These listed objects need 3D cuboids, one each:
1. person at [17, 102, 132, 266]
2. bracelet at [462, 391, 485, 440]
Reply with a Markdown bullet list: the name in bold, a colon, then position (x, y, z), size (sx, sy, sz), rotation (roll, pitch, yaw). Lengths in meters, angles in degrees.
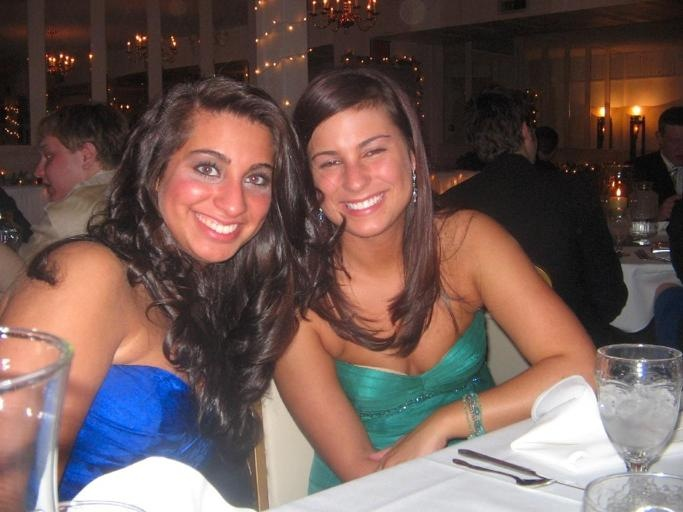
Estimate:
- **person**: position (-1.411, -0.348, 3.426), size (0.501, 0.925, 1.027), rotation (3, 6, -12)
- **bracelet**: position (0.366, 0.435, 1.707), size (0.034, 0.100, 0.085), rotation (-6, -8, -8)
